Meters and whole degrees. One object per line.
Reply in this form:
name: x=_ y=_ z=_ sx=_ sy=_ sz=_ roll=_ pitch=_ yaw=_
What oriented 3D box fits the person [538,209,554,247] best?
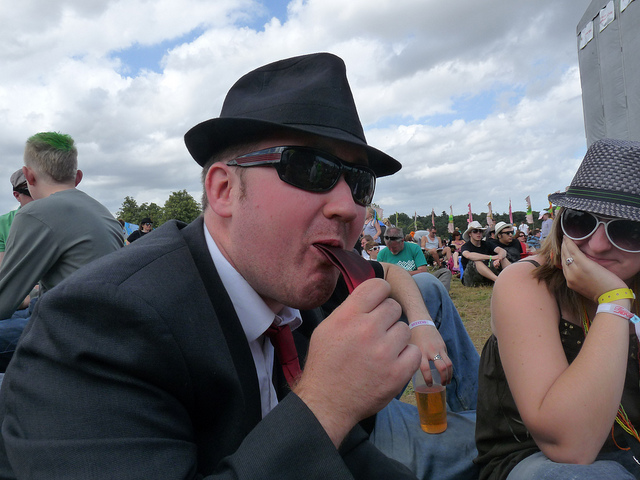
person: x=7.840 y=-0.165 z=13.700 sx=0.447 sy=1.660 sz=0.600 roll=8 pitch=15 yaw=32

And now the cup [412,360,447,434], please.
cup: x=0.699 y=0.970 z=2.481 sx=0.203 sy=0.476 sz=0.229 roll=-1 pitch=3 yaw=17

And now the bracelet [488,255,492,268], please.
bracelet: x=4.525 y=0.569 z=10.392 sx=0.080 sy=0.291 sz=0.245 roll=-1 pitch=3 yaw=7

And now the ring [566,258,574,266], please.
ring: x=1.381 y=0.121 z=2.156 sx=0.008 sy=0.031 sz=0.023 roll=41 pitch=5 yaw=-22

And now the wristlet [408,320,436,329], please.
wristlet: x=0.659 y=0.539 z=2.539 sx=0.133 sy=0.034 sz=0.136 roll=-7 pitch=-12 yaw=29
